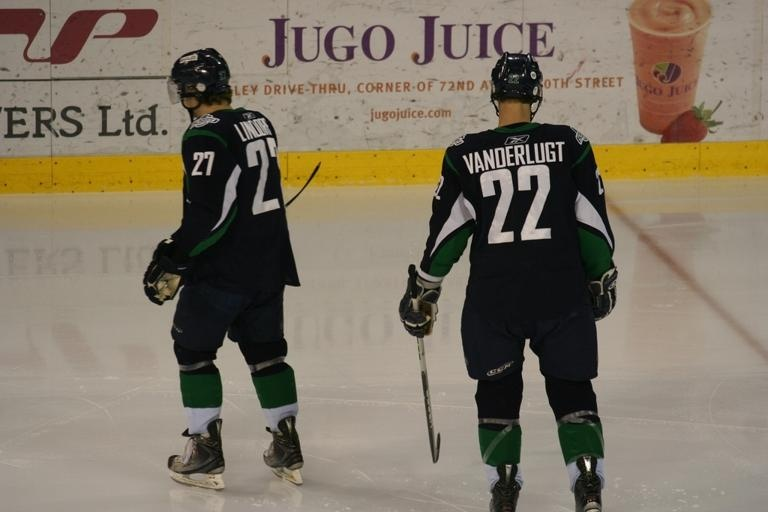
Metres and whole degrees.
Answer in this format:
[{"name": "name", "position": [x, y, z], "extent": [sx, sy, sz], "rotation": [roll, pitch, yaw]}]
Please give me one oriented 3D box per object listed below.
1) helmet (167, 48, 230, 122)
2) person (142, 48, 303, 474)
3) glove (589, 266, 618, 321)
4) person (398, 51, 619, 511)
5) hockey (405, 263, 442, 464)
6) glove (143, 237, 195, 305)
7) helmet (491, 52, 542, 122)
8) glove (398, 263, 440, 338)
[{"name": "helmet", "position": [-1.173, -1.158, 7.886], "extent": [0.503, 0.493, 0.409], "rotation": [0, 3, 6]}, {"name": "person", "position": [-1.035, 0.254, 7.559], "extent": [0.983, 2.300, 0.749], "rotation": [-4, 15, -10]}, {"name": "glove", "position": [1.370, 0.239, 7.297], "extent": [0.238, 0.294, 0.122], "rotation": [-7, 23, 10]}, {"name": "person", "position": [0.815, 0.166, 7.296], "extent": [1.236, 2.735, 0.930], "rotation": [2, 15, 9]}, {"name": "hockey", "position": [0.257, 0.706, 7.514], "extent": [0.217, 1.315, 0.197], "rotation": [7, 23, 34]}, {"name": "glove", "position": [-1.415, 0.121, 7.613], "extent": [0.194, 0.414, 0.309], "rotation": [26, 5, 21]}, {"name": "helmet", "position": [0.822, -1.079, 7.323], "extent": [0.364, 0.392, 0.422], "rotation": [4, 7, 7]}, {"name": "glove", "position": [0.221, 0.288, 7.566], "extent": [0.302, 0.416, 0.176], "rotation": [18, 10, -4]}]
